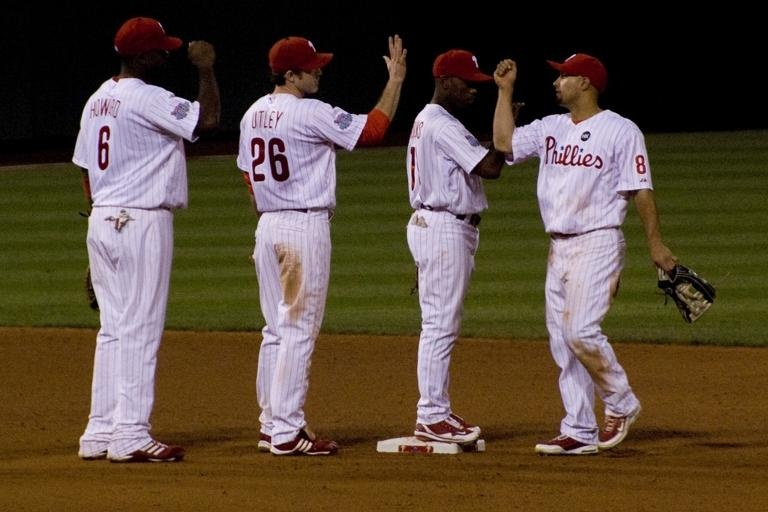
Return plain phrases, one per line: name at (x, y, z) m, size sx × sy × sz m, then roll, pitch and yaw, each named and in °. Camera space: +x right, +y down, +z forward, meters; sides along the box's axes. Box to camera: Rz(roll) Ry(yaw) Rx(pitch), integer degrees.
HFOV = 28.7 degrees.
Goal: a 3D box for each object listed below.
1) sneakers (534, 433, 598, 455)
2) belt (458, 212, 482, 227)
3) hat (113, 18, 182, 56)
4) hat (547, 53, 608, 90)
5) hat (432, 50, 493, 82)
sneakers at (2.162, 2.207, 17.594) m, size 0.747 × 0.215 × 0.248 m, roll 3°, pitch 0°, yaw -5°
belt at (1.026, -0.438, 17.657) m, size 0.203 × 0.061 × 0.187 m, roll 13°, pitch 6°, yaw 19°
hat at (-2.787, -2.573, 17.495) m, size 0.746 × 0.309 × 0.426 m, roll -11°, pitch 25°, yaw -8°
hat at (2.401, -2.218, 17.656) m, size 0.760 × 0.307 × 0.426 m, roll 14°, pitch 13°, yaw -2°
hat at (0.943, -2.253, 17.764) m, size 0.671 × 0.256 × 0.374 m, roll 0°, pitch 11°, yaw 6°
